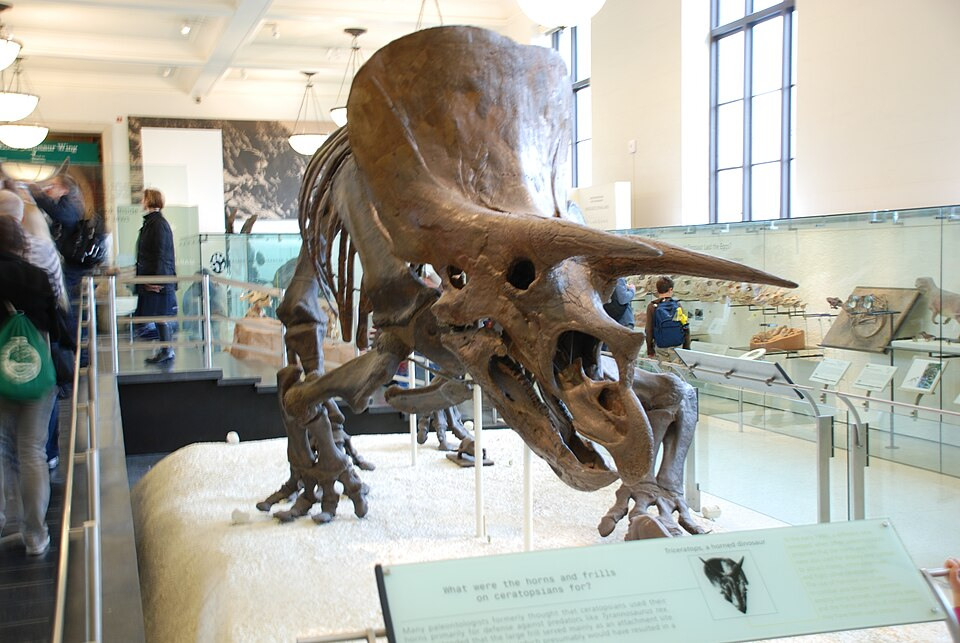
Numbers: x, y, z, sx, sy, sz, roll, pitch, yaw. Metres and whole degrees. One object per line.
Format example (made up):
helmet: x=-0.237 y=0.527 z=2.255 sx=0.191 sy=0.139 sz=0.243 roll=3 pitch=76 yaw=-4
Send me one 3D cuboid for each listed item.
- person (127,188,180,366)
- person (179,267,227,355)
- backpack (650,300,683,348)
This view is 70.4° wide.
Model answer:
person: x=-3.701 y=-0.473 z=7.753 sx=0.475 sy=1.946 sz=1.251 roll=-4 pitch=6 yaw=-24
person: x=-3.446 y=-0.158 z=8.497 sx=0.647 sy=1.130 sz=0.276 roll=0 pitch=1 yaw=-6
backpack: x=1.798 y=0.014 z=6.513 sx=0.321 sy=0.472 sz=0.152 roll=0 pitch=6 yaw=14
